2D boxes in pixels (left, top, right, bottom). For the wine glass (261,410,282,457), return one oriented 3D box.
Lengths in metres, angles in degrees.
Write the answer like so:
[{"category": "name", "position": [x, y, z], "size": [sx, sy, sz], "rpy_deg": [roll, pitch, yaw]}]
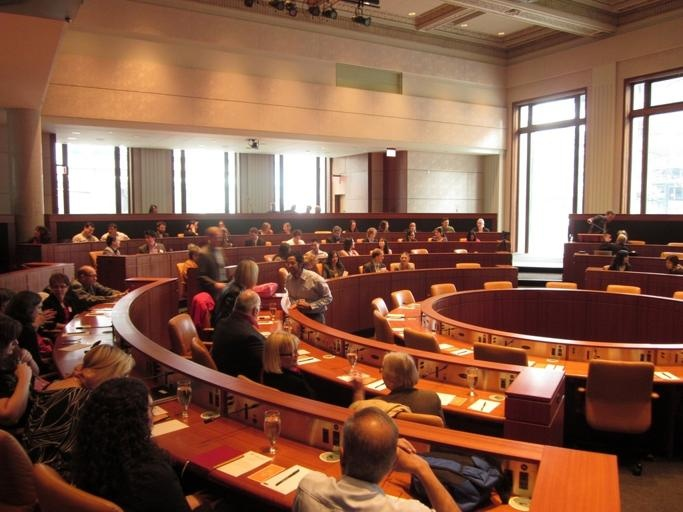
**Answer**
[{"category": "wine glass", "position": [-0.387, 0.977, 2.954], "size": [0.091, 0.235, 0.205], "rpy_deg": [-1, 4, -8]}]
